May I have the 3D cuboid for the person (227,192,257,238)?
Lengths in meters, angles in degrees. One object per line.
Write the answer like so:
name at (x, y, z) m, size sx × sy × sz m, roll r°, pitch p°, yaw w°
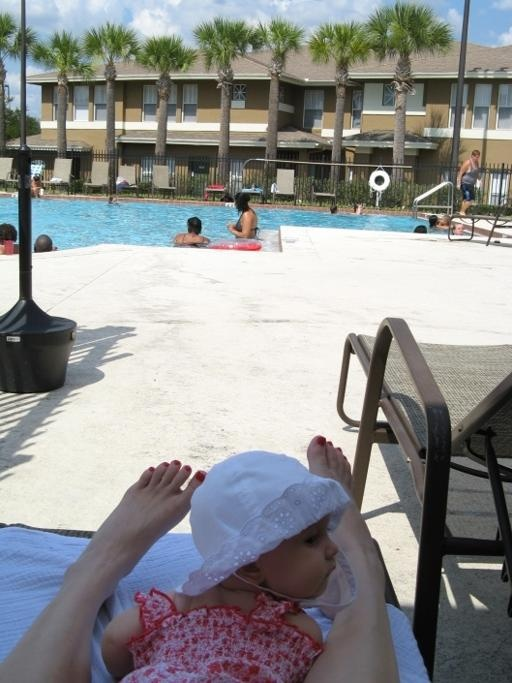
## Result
person at (-0.252, -2.583, 11.543) m, size 0.626 × 0.973 × 1.063 m, roll 2°, pitch 10°, yaw -3°

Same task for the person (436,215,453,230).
person at (5.985, -3.787, 17.837) m, size 0.337 × 0.445 × 1.231 m, roll 5°, pitch 10°, yaw 12°

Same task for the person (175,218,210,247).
person at (-1.242, -2.137, 11.011) m, size 0.645 × 0.576 × 0.826 m, roll -1°, pitch 11°, yaw -17°

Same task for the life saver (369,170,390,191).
life saver at (5.663, -7.309, 25.632) m, size 0.770 × 0.901 × 1.679 m, roll 5°, pitch 11°, yaw 13°

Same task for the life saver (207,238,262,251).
life saver at (-0.419, -1.804, 10.502) m, size 0.949 × 0.186 × 1.127 m, roll 2°, pitch 10°, yaw -6°
